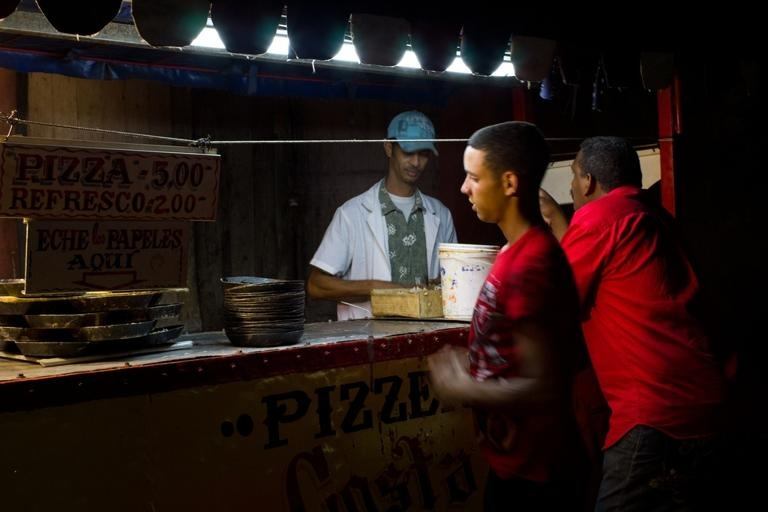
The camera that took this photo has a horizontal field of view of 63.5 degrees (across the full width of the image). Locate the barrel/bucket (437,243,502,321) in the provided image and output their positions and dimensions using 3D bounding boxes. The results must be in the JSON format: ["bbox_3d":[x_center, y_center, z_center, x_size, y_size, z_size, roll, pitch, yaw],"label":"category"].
[{"bbox_3d":[0.493,0.183,4.152,0.465,0.514,0.479,3,-2,0],"label":"barrel/bucket"}]

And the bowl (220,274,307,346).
[{"bbox_3d":[-0.658,0.309,3.502,0.425,0.298,0.371,-3,-4,22],"label":"bowl"}]

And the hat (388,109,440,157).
[{"bbox_3d":[0.273,-0.995,5.239,0.377,0.293,0.536,6,17,-18],"label":"hat"}]
